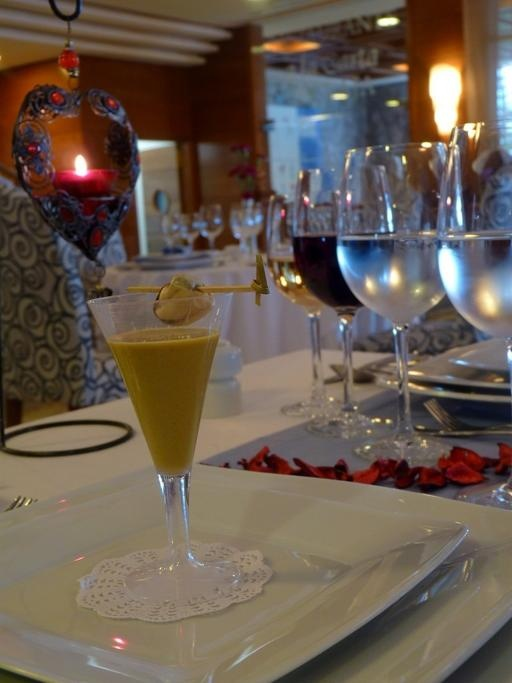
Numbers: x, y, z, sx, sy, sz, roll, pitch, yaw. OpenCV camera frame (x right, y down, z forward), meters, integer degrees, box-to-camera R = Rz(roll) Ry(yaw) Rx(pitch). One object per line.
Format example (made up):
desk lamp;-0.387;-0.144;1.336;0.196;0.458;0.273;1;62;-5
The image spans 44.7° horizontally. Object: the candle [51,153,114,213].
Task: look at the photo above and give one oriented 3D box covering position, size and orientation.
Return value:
candle;-0.208;-0.197;0.797;0.083;0.072;0.082;-1;0;-5
